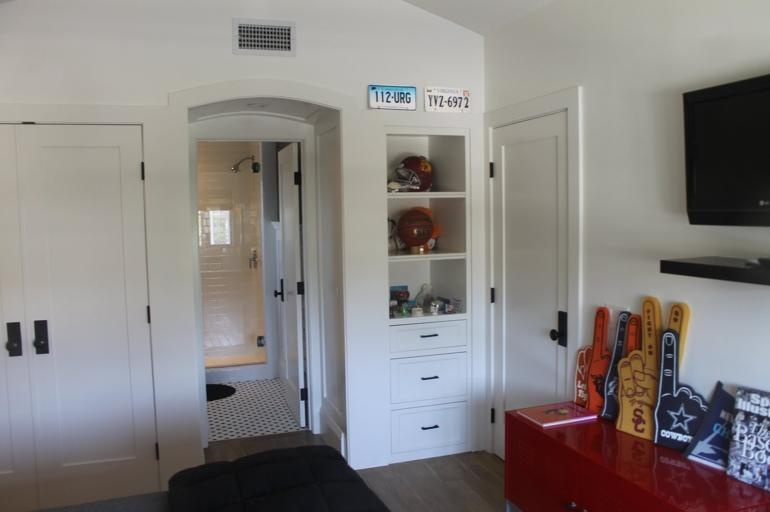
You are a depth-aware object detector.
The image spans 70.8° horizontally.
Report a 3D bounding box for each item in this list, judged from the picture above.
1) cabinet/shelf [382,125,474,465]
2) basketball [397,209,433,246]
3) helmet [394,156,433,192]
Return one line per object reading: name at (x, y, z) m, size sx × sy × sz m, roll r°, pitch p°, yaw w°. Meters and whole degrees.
cabinet/shelf at (0.305, 0.328, 4.715) m, size 0.814 × 2.754 × 0.703 m, roll -4°, pitch 11°, yaw -11°
basketball at (0.265, -0.260, 4.630) m, size 0.308 × 0.349 × 0.314 m, roll 2°, pitch 7°, yaw 20°
helmet at (0.236, -0.729, 4.713) m, size 0.335 × 0.296 × 0.261 m, roll 9°, pitch 9°, yaw -14°
